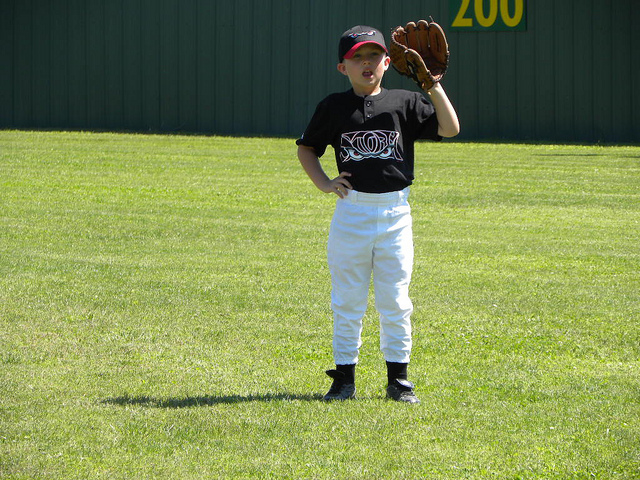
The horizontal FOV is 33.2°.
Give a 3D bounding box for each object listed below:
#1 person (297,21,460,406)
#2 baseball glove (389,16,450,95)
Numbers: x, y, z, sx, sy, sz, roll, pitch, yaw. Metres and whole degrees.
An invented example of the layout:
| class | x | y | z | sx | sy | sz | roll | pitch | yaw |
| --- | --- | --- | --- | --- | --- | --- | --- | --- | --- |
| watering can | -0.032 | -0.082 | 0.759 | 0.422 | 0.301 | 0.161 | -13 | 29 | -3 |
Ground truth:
| class | x | y | z | sx | sy | sz | roll | pitch | yaw |
| --- | --- | --- | --- | --- | --- | --- | --- | --- | --- |
| person | 0.527 | -0.277 | 9.953 | 1.336 | 3.298 | 1.130 | -2 | 14 | -12 |
| baseball glove | 0.980 | -1.685 | 10.065 | 0.511 | 0.354 | 0.747 | -4 | 52 | -9 |
